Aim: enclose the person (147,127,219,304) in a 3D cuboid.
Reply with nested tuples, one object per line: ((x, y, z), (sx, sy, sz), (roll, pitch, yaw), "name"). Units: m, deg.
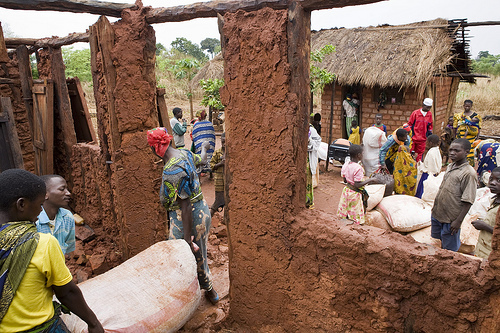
((-0.856, 0.730, 5.497), (0.857, 2.473, 0.371), (-3, 11, -14), "person")
